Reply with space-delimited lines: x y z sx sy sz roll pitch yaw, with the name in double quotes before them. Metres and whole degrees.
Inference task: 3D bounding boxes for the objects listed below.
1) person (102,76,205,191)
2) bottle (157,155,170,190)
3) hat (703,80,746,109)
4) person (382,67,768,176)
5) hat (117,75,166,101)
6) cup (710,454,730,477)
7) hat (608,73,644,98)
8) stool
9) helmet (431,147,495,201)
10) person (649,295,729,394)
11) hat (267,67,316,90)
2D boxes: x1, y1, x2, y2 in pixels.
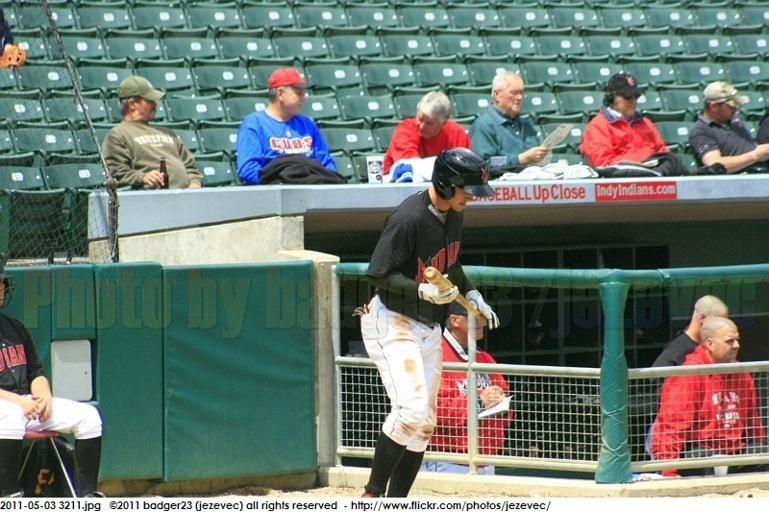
"person" -2.316 -1.199 18.126 0.946 0.860 0.581 -4 2 -7
"bottle" -2.154 -0.805 18.017 0.096 0.236 0.320 -4 2 -6
"hat" 3.514 -1.632 18.820 0.388 0.191 0.246 -1 22 2
"person" 1.993 -1.293 18.500 3.762 1.119 0.863 -3 2 -4
"hat" -2.404 -1.663 18.255 0.416 0.203 0.254 -5 10 -10
"cup" 3.039 1.860 16.484 0.192 0.197 0.192 0 -2 0
"hat" 2.456 -1.709 18.597 0.218 0.173 0.321 -4 8 -41
"stool" -2.907 1.797 16.205 0.649 0.663 0.539 -2 2 2
"helmet" 0.640 -0.693 15.813 0.526 0.350 0.390 13 11 21
"person" 2.855 0.721 16.803 0.482 0.675 0.931 18 3 25
"hat" -0.938 -1.741 18.294 0.392 0.173 0.235 4 7 -7
